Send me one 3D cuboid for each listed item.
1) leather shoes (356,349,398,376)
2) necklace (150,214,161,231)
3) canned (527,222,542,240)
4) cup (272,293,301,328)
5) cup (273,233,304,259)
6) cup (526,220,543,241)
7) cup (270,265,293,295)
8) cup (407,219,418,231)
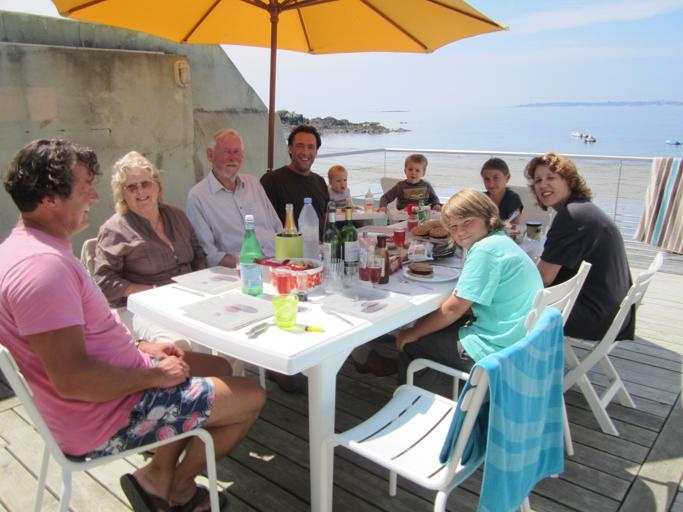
[{"bbox_3d":[0.162,0.640,2.984,0.322,0.131,0.106,-5,16,27],"label":"leather shoes"},{"bbox_3d":[-1.058,-0.188,2.829,0.021,0.074,0.055,-9,-11,23],"label":"necklace"},{"bbox_3d":[1.291,-0.170,3.347,0.116,0.119,0.113,0,15,13],"label":"canned"},{"bbox_3d":[-0.220,0.218,1.989,0.115,0.118,0.114,0,5,0],"label":"cup"},{"bbox_3d":[-0.264,-0.050,2.538,0.130,0.101,0.129,1,11,0],"label":"cup"},{"bbox_3d":[1.287,-0.168,3.336,0.120,0.120,0.117,-3,13,1],"label":"cup"},{"bbox_3d":[-0.261,0.107,2.187,0.117,0.151,0.107,-2,4,0],"label":"cup"},{"bbox_3d":[0.471,-0.211,3.375,0.082,0.085,0.081,0,8,0],"label":"cup"}]
